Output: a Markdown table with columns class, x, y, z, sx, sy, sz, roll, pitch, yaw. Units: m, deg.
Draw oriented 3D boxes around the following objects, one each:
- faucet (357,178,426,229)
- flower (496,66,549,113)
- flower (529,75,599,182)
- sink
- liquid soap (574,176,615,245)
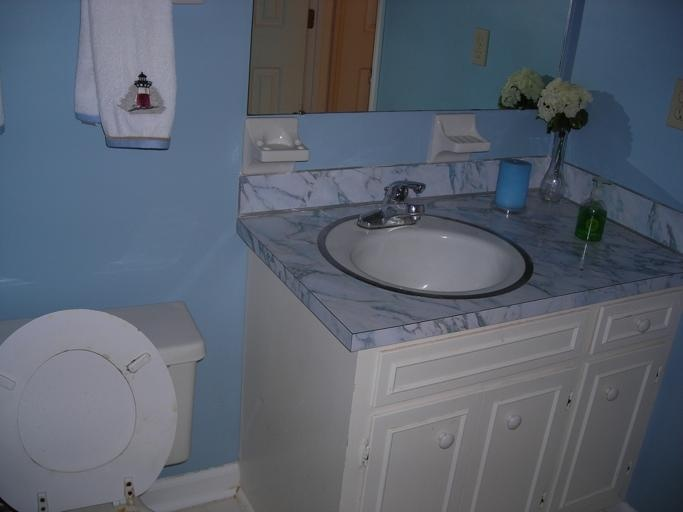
| class | x | y | z | sx | sy | sz | roll | pitch | yaw |
| --- | --- | --- | --- | --- | --- | --- | --- | --- | --- |
| faucet | 0.154 | -0.176 | 1.683 | 0.179 | 0.106 | 0.142 | -9 | 18 | -23 |
| flower | 0.631 | -0.587 | 1.948 | 0.138 | 0.152 | 0.048 | 3 | 2 | 7 |
| flower | 0.788 | -0.460 | 1.950 | 0.158 | 0.362 | 0.190 | -30 | 48 | -20 |
| sink | 0.235 | 0.000 | 1.651 | 0.346 | 0.103 | 0.349 | -1 | 24 | -1 |
| liquid soap | 0.810 | -0.157 | 1.777 | 0.080 | 0.170 | 0.236 | 10 | 23 | 27 |
